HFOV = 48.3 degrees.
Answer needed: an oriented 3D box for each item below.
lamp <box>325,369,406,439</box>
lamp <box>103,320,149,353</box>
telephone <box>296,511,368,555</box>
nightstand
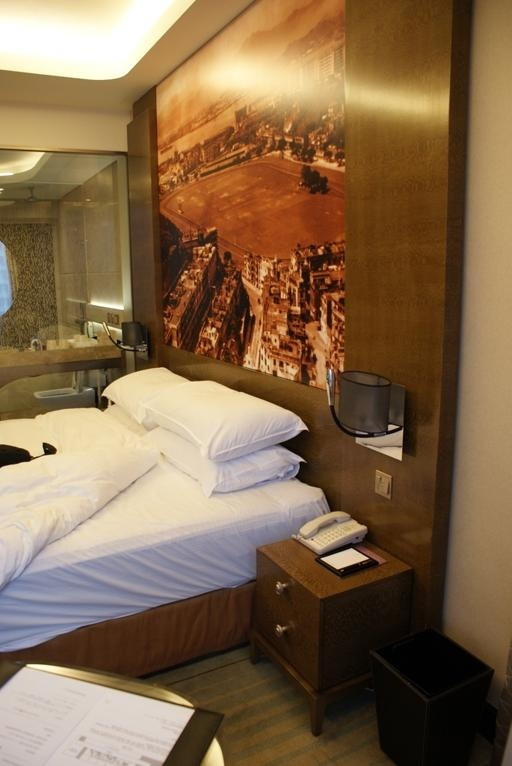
[{"bbox_3d":[0.296,0.067,1.722,0.222,0.231,0.195,-6,16,-23],"label":"lamp"},{"bbox_3d":[-0.909,-0.326,3.965,0.305,0.294,0.188,-4,19,-21],"label":"lamp"},{"bbox_3d":[0.253,0.493,1.889,0.154,0.065,0.120,-9,13,-27],"label":"telephone"},{"bbox_3d":[0.269,0.713,1.887,0.432,0.492,0.451,-3,10,-26],"label":"nightstand"}]
